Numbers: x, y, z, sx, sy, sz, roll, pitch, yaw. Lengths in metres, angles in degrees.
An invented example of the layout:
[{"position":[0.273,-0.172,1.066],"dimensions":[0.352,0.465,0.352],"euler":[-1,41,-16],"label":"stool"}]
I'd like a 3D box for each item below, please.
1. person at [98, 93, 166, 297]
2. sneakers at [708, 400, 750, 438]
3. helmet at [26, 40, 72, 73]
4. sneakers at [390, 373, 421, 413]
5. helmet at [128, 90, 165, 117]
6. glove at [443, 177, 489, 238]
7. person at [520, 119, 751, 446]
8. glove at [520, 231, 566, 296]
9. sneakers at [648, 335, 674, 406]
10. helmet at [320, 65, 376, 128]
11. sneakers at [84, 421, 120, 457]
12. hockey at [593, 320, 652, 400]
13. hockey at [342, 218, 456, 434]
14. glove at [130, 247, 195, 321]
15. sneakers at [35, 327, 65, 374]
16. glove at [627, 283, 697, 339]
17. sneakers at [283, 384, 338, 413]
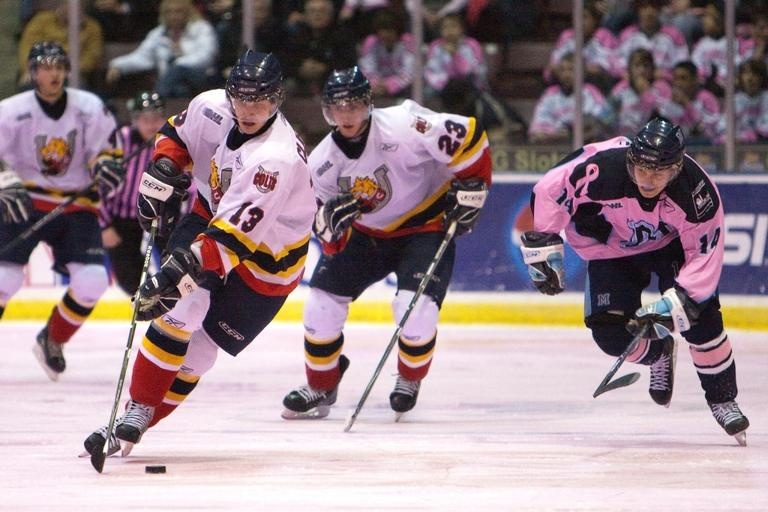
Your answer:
[{"position":[-2.000,-0.496,8.681],"dimensions":[0.645,0.567,1.783],"euler":[10,48,-20],"label":"person"},{"position":[1.866,0.865,6.175],"dimensions":[0.123,0.101,0.293],"euler":[47,5,-14],"label":"sneakers"},{"position":[-2.033,-1.195,6.788],"dimensions":[0.220,0.146,0.201],"euler":[-3,13,-9],"label":"helmet"},{"position":[0.124,0.806,6.547],"dimensions":[0.109,0.111,0.303],"euler":[12,11,5],"label":"sneakers"},{"position":[-1.783,-1.149,8.437],"dimensions":[0.241,0.117,0.188],"euler":[-8,-4,18],"label":"helmet"},{"position":[0.451,-0.310,6.690],"dimensions":[0.291,0.319,0.140],"euler":[14,20,-18],"label":"glove"},{"position":[1.425,0.101,6.311],"dimensions":[1.256,1.720,0.556],"euler":[3,12,15],"label":"person"},{"position":[0.945,0.027,6.368],"dimensions":[0.266,0.335,0.149],"euler":[-12,7,31],"label":"glove"},{"position":[1.592,0.668,6.504],"dimensions":[0.151,0.409,0.204],"euler":[6,8,38],"label":"sneakers"},{"position":[-0.215,-0.917,6.462],"dimensions":[0.323,0.339,0.375],"euler":[-4,12,10],"label":"helmet"},{"position":[-1.427,0.936,5.694],"dimensions":[0.173,0.211,0.265],"euler":[-3,11,-15],"label":"sneakers"},{"position":[1.384,0.610,6.338],"dimensions":[0.101,0.460,0.275],"euler":[38,3,-22],"label":"hockey"},{"position":[0.091,0.443,6.890],"dimensions":[0.079,1.422,0.118],"euler":[40,-7,-34],"label":"hockey"},{"position":[-1.108,0.135,5.652],"dimensions":[0.240,0.418,0.170],"euler":[50,6,-23],"label":"glove"},{"position":[-2.155,0.633,7.316],"dimensions":[0.162,0.320,0.140],"euler":[-12,4,14],"label":"sneakers"},{"position":[1.550,0.315,6.090],"dimensions":[0.382,0.162,0.217],"euler":[-18,23,23],"label":"glove"},{"position":[-0.442,0.834,6.656],"dimensions":[0.355,0.138,0.121],"euler":[-1,45,-34],"label":"sneakers"}]
